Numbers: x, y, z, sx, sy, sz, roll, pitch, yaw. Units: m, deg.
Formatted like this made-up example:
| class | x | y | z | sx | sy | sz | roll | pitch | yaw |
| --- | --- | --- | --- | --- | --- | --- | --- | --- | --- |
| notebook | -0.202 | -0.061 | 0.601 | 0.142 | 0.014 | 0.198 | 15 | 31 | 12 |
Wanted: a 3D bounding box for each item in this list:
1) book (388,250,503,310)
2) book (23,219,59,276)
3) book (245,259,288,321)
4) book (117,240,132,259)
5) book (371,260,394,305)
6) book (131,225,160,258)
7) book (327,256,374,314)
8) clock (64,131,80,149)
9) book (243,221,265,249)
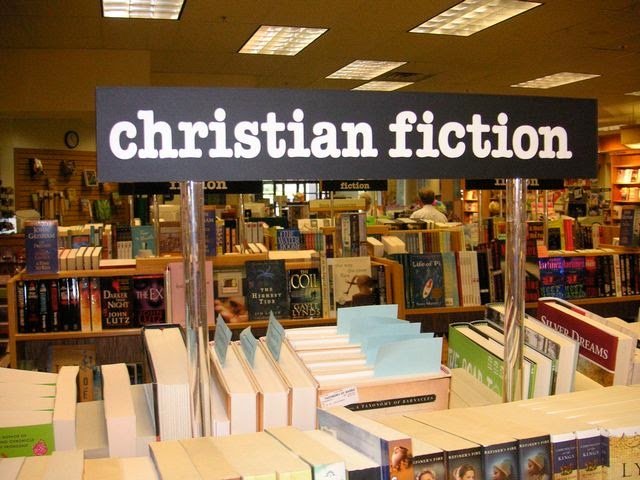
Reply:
| class | x | y | z | sx | sy | sz | roll | pitch | yaw |
| --- | --- | --- | --- | --- | --- | --- | --- | --- | --- |
| book | 0.996 | 0.272 | 4.387 | 0.682 | 0.466 | 0.773 | 1 | 3 | -11 |
| book | -1.904 | 0.010 | 3.604 | 0.243 | 0.367 | 0.242 | -11 | 26 | -44 |
| book | -0.387 | 0.353 | 3.830 | 0.311 | 0.480 | 0.106 | 1 | 2 | -12 |
| book | -2.338 | 0.037 | 6.311 | 0.201 | 0.312 | 0.299 | -2 | 6 | -19 |
| book | 0.475 | 0.333 | 4.007 | 0.086 | 0.291 | 0.287 | -3 | 7 | -10 |
| book | -2.007 | 0.002 | 6.024 | 0.263 | 0.390 | 0.205 | 0 | 11 | -4 |
| book | 0.203 | 0.324 | 3.779 | 0.358 | 0.488 | 0.065 | -1 | -1 | -13 |
| clock | -5.727 | -2.313 | 12.081 | 0.056 | 0.455 | 0.424 | -4 | -3 | 17 |
| book | -0.893 | -0.085 | 7.133 | 0.257 | 0.384 | 0.377 | -2 | 8 | -16 |
